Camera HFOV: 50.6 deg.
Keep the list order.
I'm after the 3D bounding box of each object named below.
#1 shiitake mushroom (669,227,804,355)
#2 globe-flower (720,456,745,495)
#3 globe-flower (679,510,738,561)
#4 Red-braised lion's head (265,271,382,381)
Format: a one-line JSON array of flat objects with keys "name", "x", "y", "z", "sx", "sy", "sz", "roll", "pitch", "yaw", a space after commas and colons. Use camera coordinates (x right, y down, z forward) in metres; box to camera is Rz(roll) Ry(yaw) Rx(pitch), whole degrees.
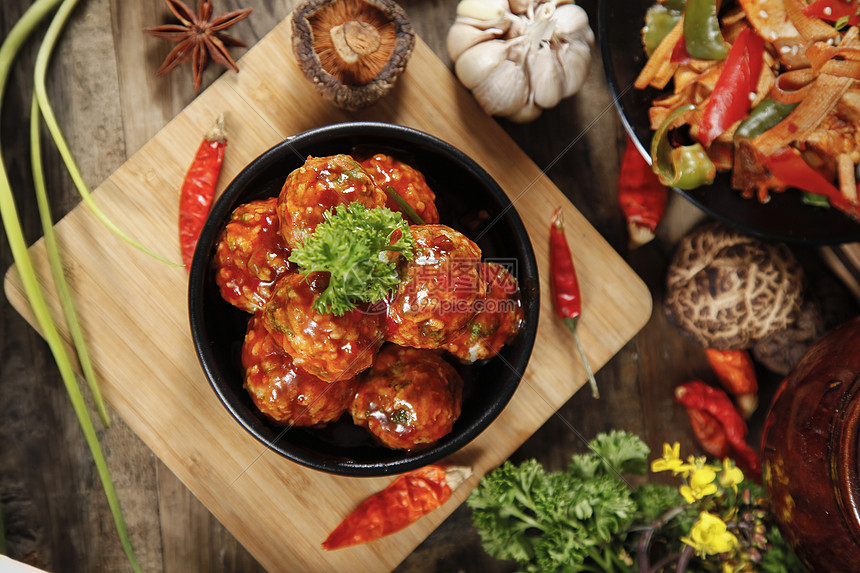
[{"name": "shiitake mushroom", "x": 0.803, "y": 0.006, "z": 2.448, "sx": 0.308, "sy": 0.333, "sz": 0.105, "roll": -61, "pitch": 1, "yaw": 4}, {"name": "globe-flower", "x": 0.787, "y": 0.492, "z": 2.365, "sx": 0.058, "sy": 0.087, "sz": 0.031, "roll": 2, "pitch": 2, "yaw": -8}, {"name": "globe-flower", "x": 0.725, "y": 0.637, "z": 2.363, "sx": 0.093, "sy": 0.128, "sz": 0.124, "roll": -13, "pitch": 26, "yaw": 20}, {"name": "Red-braised lion's head", "x": -0.227, "y": 0.091, "z": 2.062, "sx": 0.205, "sy": 0.231, "sz": 0.249, "roll": -12, "pitch": 31, "yaw": -22}]
